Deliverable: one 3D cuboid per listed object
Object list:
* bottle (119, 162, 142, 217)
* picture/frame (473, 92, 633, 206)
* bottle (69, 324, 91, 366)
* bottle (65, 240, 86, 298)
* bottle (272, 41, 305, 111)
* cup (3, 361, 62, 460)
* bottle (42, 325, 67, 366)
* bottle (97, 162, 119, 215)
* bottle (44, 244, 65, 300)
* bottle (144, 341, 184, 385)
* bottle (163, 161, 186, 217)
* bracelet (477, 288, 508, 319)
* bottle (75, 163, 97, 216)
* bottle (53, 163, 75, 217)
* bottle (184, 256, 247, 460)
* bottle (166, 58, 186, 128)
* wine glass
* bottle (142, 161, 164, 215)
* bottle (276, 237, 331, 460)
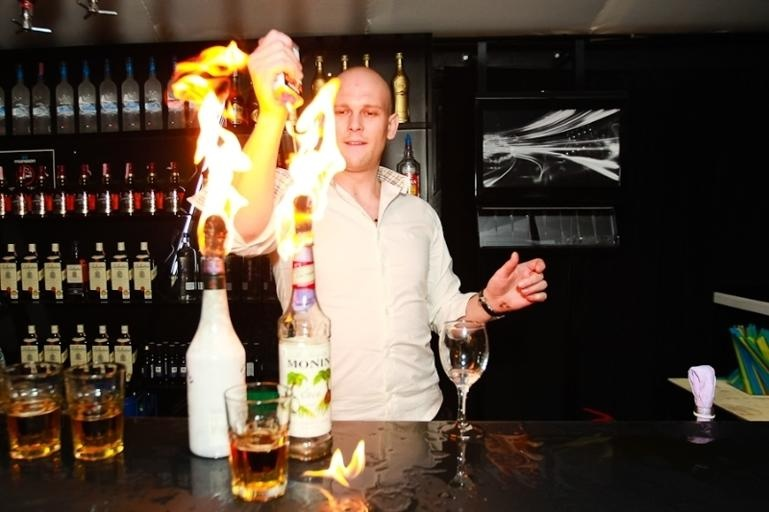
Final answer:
[{"bbox_3d":[-1.509,-0.397,3.607,0.115,0.306,0.171,-4,4,-23],"label":"bottle"},{"bbox_3d":[0.932,-0.617,3.477,0.702,0.482,0.094,0,3,0],"label":"picture/frame"},{"bbox_3d":[-1.885,0.524,3.754,0.120,0.233,0.217,-4,4,-28],"label":"bottle"},{"bbox_3d":[-1.877,0.075,3.700,0.120,0.338,0.325,-4,4,-27],"label":"bottle"},{"bbox_3d":[-0.303,-0.587,1.894,0.071,0.240,0.148,-12,-19,3],"label":"bottle"},{"bbox_3d":[-0.973,0.426,1.698,0.148,0.255,0.090,-4,4,-26],"label":"cup"},{"bbox_3d":[-2.043,0.535,3.769,0.127,0.220,0.232,-4,4,-29],"label":"bottle"},{"bbox_3d":[-1.670,-0.404,3.672,0.121,0.314,0.310,-4,4,-24],"label":"bottle"},{"bbox_3d":[-2.009,0.083,3.700,0.108,0.329,0.305,-4,4,-28],"label":"bottle"},{"bbox_3d":[-1.326,0.644,3.704,0.263,0.229,0.062,-4,-28,5],"label":"bottle"},{"bbox_3d":[-1.254,-0.407,3.639,0.123,0.306,0.245,-4,4,-18],"label":"bottle"},{"bbox_3d":[0.413,0.177,2.243,0.036,0.105,0.107,-44,40,-4],"label":"bracelet"},{"bbox_3d":[-1.809,-0.401,3.681,0.106,0.307,0.291,-4,4,-25],"label":"bottle"},{"bbox_3d":[-1.944,-0.396,3.683,0.108,0.304,0.284,-4,4,-27],"label":"bottle"},{"bbox_3d":[-0.478,0.275,1.675,0.222,0.556,0.112,0,4,38],"label":"bottle"},{"bbox_3d":[-1.208,-0.860,3.538,0.103,0.245,0.138,-4,4,-18],"label":"bottle"},{"bbox_3d":[0.245,0.355,1.850,0.140,0.333,0.205,0,4,29],"label":"wine glass"},{"bbox_3d":[-1.395,-0.410,3.642,0.106,0.312,0.295,-4,4,-21],"label":"bottle"},{"bbox_3d":[-0.221,0.264,1.675,0.144,0.587,0.169,-3,3,-5],"label":"bottle"}]
